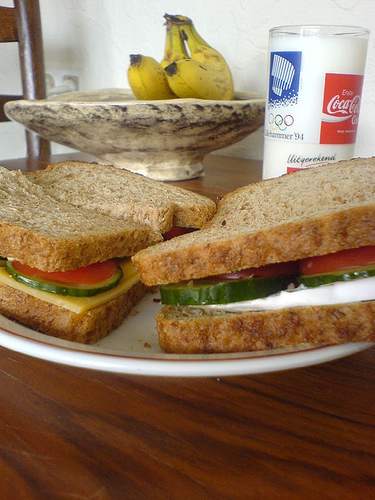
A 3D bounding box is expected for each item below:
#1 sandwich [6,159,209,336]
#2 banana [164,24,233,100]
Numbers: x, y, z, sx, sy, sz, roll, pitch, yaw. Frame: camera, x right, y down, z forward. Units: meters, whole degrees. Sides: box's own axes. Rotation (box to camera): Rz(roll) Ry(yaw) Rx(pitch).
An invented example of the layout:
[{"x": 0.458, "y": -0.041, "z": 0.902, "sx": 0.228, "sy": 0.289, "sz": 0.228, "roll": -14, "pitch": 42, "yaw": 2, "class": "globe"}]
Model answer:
[{"x": -0.186, "y": -0.020, "z": 0.823, "sx": 0.366, "sy": 0.087, "sz": 0.347, "roll": 11, "pitch": 23, "yaw": 8, "class": "sandwich"}, {"x": 0.006, "y": -0.511, "z": 1.386, "sx": 0.224, "sy": 0.224, "sz": 0.180, "roll": 15, "pitch": 27, "yaw": 38, "class": "banana"}]
